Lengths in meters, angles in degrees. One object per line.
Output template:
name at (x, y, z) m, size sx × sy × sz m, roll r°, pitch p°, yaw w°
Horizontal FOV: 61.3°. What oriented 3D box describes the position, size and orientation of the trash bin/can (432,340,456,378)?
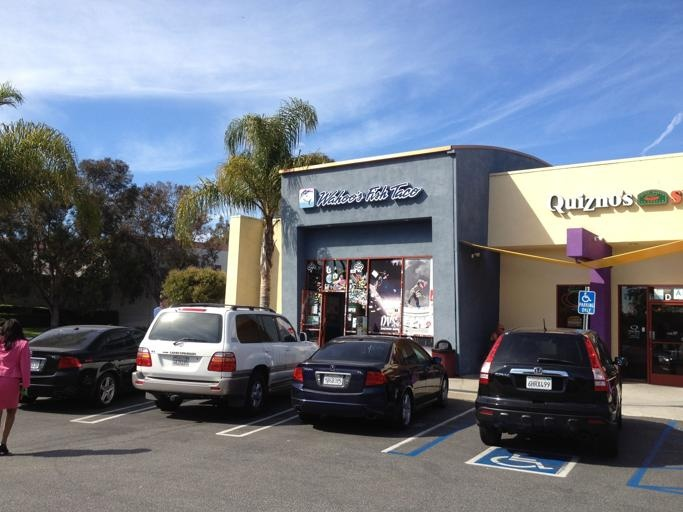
trash bin/can at (3.149, 3.211, 18.000) m, size 0.610 × 1.166 × 0.640 m, roll 6°, pitch 9°, yaw 17°
